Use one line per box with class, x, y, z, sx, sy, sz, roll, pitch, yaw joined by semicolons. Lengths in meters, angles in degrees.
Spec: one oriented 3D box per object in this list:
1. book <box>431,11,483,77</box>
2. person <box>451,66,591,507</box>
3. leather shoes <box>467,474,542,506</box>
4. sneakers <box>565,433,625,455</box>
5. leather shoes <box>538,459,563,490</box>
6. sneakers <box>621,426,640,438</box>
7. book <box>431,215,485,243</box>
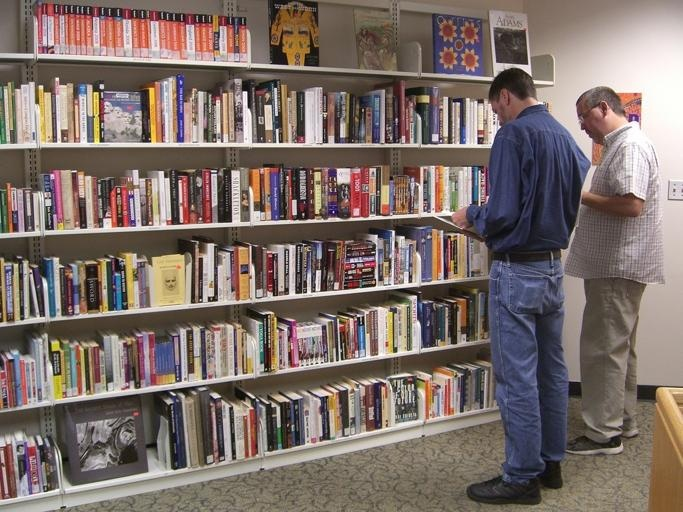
book;0.839;-1.508;4.591;0.413;0.403;0.044;-5;8;-27
person;0.998;0.159;3.604;0.722;2.390;0.441;-9;11;-31
leather shoes;0.925;1.318;3.662;0.415;0.196;0.159;4;4;9
sneakers;1.638;1.208;4.181;0.384;0.172;0.150;2;-4;4
leather shoes;1.214;1.263;3.753;0.083;0.157;0.218;-2;10;-11
sneakers;1.954;1.185;4.303;0.150;0.066;0.048;7;-8;-41
book;0.764;-0.174;4.133;0.335;0.037;0.296;24;4;-14
